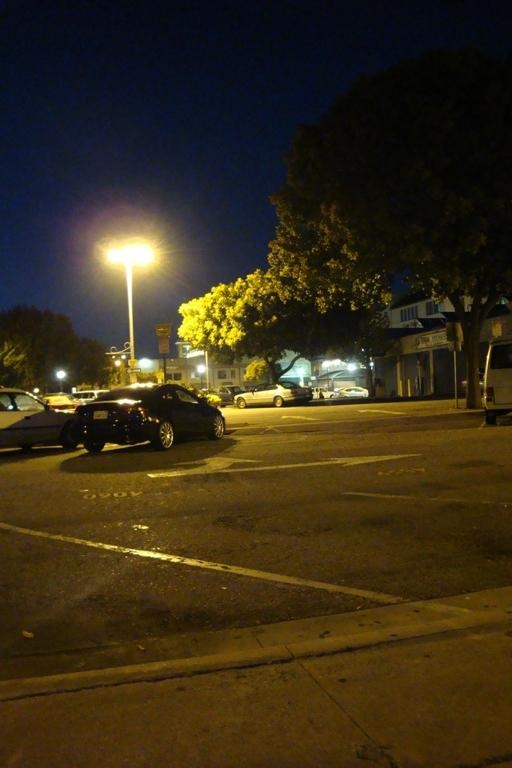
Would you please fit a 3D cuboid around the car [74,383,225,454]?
[{"bbox_3d":[-1.997,0.696,13.812,1.353,1.042,3.053,-4,0,31],"label":"car"}]

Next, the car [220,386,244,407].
[{"bbox_3d":[-2.332,1.020,54.766,2.269,1.261,1.274,1,1,-4],"label":"car"}]

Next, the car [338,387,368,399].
[{"bbox_3d":[9.447,0.854,60.195,2.342,0.760,1.552,1,-3,-9],"label":"car"}]

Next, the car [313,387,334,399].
[{"bbox_3d":[6.845,1.101,61.630,2.135,1.288,1.338,-3,3,0],"label":"car"}]

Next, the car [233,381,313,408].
[{"bbox_3d":[1.127,0.733,39.942,4.745,1.677,1.090,-3,0,31],"label":"car"}]
